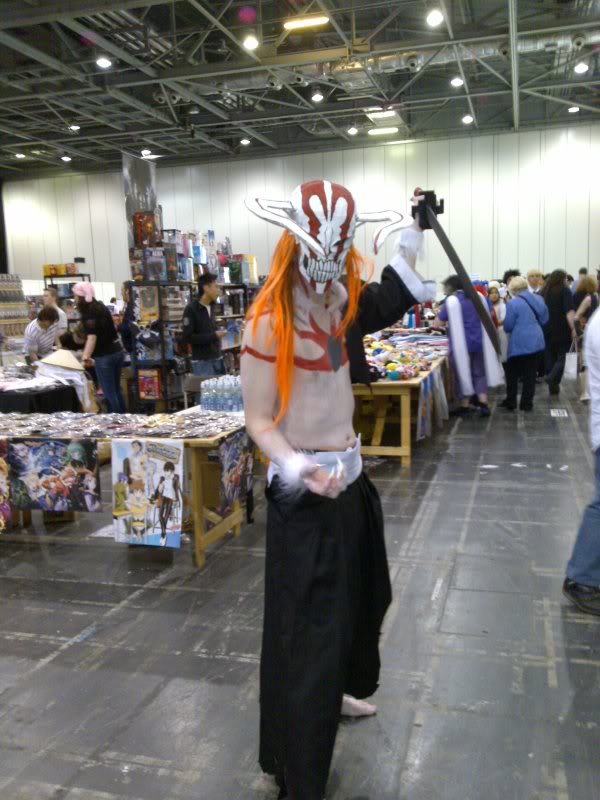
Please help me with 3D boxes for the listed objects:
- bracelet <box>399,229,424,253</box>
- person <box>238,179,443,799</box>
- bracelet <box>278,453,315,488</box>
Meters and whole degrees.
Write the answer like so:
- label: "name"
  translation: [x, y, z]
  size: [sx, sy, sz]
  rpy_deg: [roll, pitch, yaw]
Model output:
- label: "bracelet"
  translation: [0.255, -0.363, 1.384]
  size: [0.048, 0.041, 0.051]
  rpy_deg: [10, 43, -3]
- label: "person"
  translation: [0.057, 0.235, 1.336]
  size: [0.299, 1.356, 0.476]
  rpy_deg: [2, 7, 42]
- label: "bracelet"
  translation: [-0.009, 0.139, 1.176]
  size: [0.071, 0.059, 0.039]
  rpy_deg: [-45, 10, -24]
